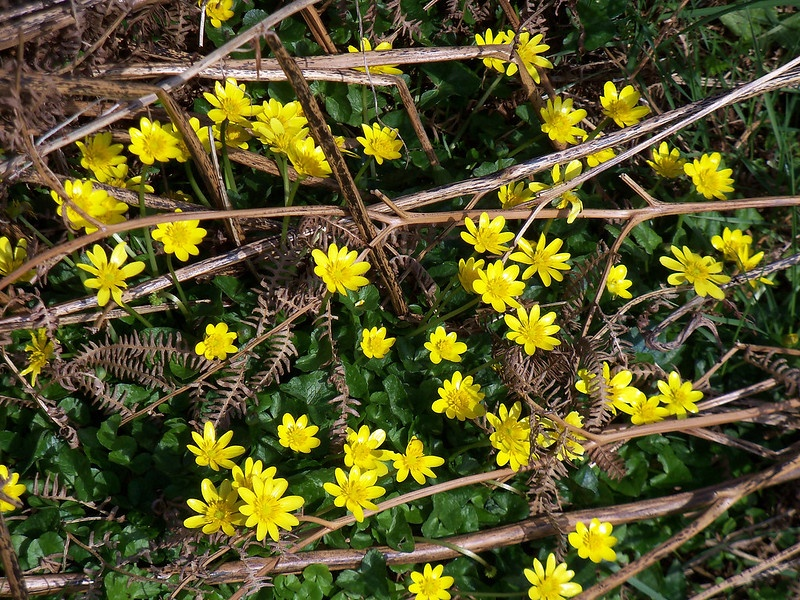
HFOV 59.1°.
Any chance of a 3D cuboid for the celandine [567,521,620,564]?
[{"bbox_3d":[0.585,0.747,2.219,0.114,0.121,0.039,-32,88,-8],"label":"celandine"}]
